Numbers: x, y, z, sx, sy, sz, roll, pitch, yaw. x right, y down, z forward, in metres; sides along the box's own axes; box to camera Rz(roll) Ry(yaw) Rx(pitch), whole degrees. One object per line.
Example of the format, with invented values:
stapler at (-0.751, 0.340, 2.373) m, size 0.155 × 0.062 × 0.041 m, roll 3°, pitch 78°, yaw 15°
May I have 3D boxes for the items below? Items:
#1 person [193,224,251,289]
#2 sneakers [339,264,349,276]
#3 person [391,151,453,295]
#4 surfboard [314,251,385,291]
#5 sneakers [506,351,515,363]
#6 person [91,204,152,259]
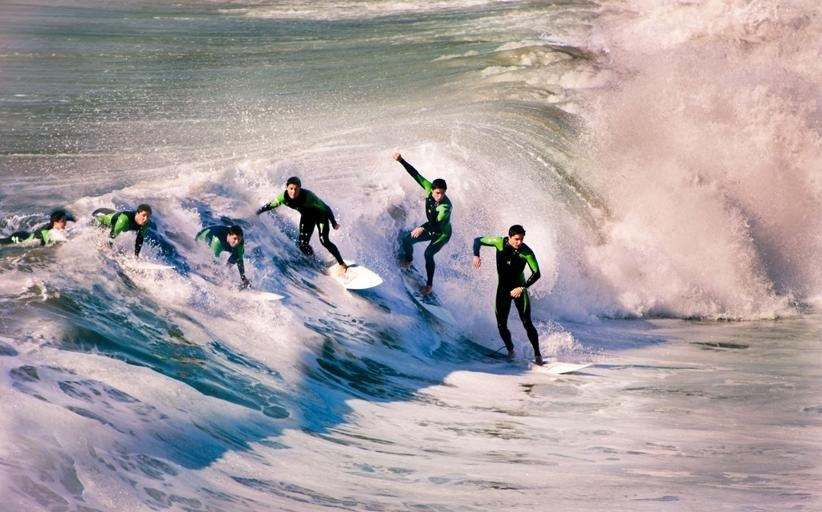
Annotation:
person at (-4.188, 0.037, 20.089) m, size 0.675 × 1.232 × 1.089 m, roll -23°, pitch 81°, yaw -35°
sneakers at (-1.582, 0.300, 21.424) m, size 0.225 × 0.233 × 0.213 m, roll 18°, pitch 79°, yaw -13°
person at (0.377, -0.853, 21.515) m, size 1.334 × 4.048 × 0.862 m, roll -20°, pitch 39°, yaw -4°
surfboard at (-1.541, 0.450, 21.718) m, size 1.891 × 0.246 × 0.484 m, roll 13°, pitch 57°, yaw 35°
sneakers at (2.293, 2.283, 20.841) m, size 0.256 × 0.405 × 0.163 m, roll -3°, pitch 53°, yaw 12°
person at (-6.473, -0.680, 20.092) m, size 2.452 × 1.048 × 0.807 m, roll 8°, pitch 7°, yaw 42°
